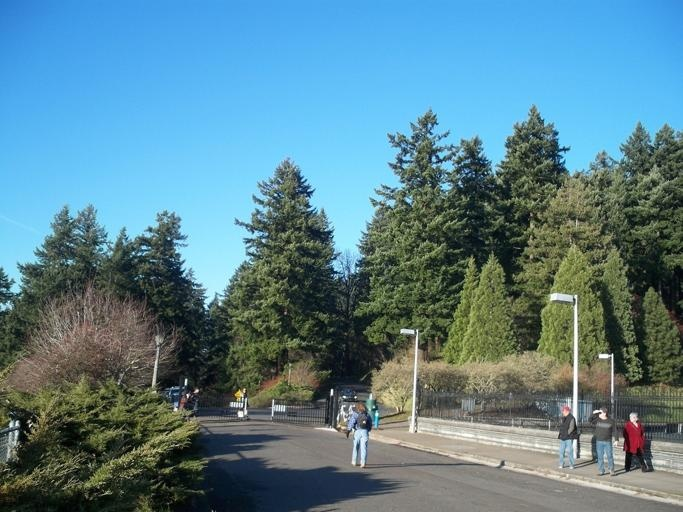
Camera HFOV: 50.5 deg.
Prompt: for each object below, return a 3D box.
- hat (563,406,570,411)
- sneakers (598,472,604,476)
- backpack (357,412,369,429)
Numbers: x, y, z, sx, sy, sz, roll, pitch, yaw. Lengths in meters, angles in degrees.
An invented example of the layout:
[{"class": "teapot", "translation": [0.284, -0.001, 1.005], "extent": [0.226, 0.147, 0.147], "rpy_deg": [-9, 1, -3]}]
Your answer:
[{"class": "hat", "translation": [8.019, 5.460, 25.792], "extent": [0.158, 0.110, 0.177], "rpy_deg": [0, -6, 13]}, {"class": "sneakers", "translation": [8.758, 7.356, 24.367], "extent": [0.210, 0.120, 0.392], "rpy_deg": [-6, -20, 21]}, {"class": "backpack", "translation": [0.758, 5.652, 24.632], "extent": [0.454, 0.770, 0.416], "rpy_deg": [4, -26, -8]}]
